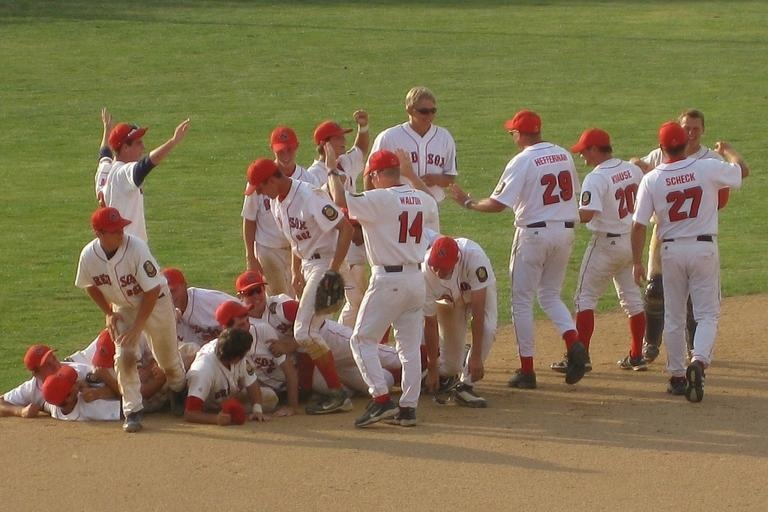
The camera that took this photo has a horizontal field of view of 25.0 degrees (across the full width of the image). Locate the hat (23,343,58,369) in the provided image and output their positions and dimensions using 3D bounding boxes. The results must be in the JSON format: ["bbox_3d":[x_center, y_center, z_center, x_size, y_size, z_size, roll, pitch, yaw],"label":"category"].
[{"bbox_3d":[-6.636,1.927,33.399,0.537,0.494,0.664,-3,11,-10],"label":"hat"}]

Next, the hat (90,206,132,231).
[{"bbox_3d":[-5.132,-0.686,32.536,0.641,0.295,0.419,1,12,9],"label":"hat"}]
